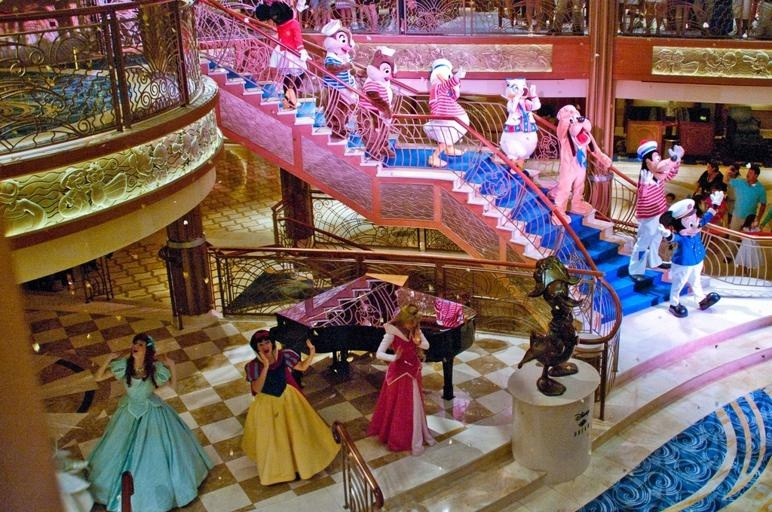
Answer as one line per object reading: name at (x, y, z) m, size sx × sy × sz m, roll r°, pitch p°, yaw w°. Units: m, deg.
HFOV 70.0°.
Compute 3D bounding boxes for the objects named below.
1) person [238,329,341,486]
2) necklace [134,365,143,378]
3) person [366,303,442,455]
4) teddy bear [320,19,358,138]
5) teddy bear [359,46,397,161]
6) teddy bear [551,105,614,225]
person at (-1.138, 1.637, 6.111) m, size 1.153 × 1.519 × 1.055 m, roll -8°, pitch 0°, yaw -12°
necklace at (-2.462, 1.155, 5.503) m, size 0.079 × 0.040 × 0.103 m, roll 4°, pitch 50°, yaw -13°
person at (0.195, 1.377, 6.288) m, size 0.875 × 1.605 × 0.787 m, roll 10°, pitch 14°, yaw 38°
teddy bear at (-0.850, -3.277, 10.221) m, size 0.596 × 2.076 × 1.466 m, roll -3°, pitch 16°, yaw -4°
teddy bear at (-0.143, -2.790, 10.034) m, size 0.628 × 1.995 × 1.248 m, roll -2°, pitch 16°, yaw 1°
teddy bear at (3.414, -1.686, 9.885) m, size 0.860 × 1.957 × 2.225 m, roll 8°, pitch 19°, yaw 33°
